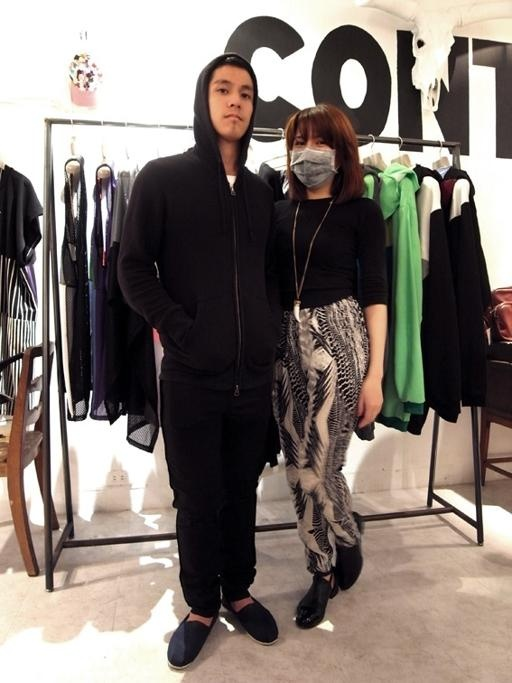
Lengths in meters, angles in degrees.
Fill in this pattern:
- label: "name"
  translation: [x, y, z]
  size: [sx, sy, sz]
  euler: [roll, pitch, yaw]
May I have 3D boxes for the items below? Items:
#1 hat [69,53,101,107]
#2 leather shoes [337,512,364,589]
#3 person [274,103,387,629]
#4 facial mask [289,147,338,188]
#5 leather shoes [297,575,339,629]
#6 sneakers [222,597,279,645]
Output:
- label: "hat"
  translation: [-0.747, -1.141, 2.249]
  size: [0.136, 0.208, 0.091]
  euler: [-1, 3, -16]
- label: "leather shoes"
  translation: [0.320, 0.744, 1.773]
  size: [0.078, 0.317, 0.103]
  euler: [1, 2, 9]
- label: "person"
  translation: [0.232, 0.068, 1.638]
  size: [0.349, 1.608, 0.278]
  euler: [0, 3, 8]
- label: "facial mask"
  translation: [0.170, -0.559, 1.576]
  size: [0.098, 0.113, 0.120]
  euler: [9, 32, 19]
- label: "leather shoes"
  translation: [0.199, 0.811, 1.657]
  size: [0.068, 0.110, 0.209]
  euler: [-3, 7, 36]
- label: "sneakers"
  translation: [0.004, 0.810, 1.526]
  size: [0.059, 0.067, 0.181]
  euler: [-4, 2, -23]
